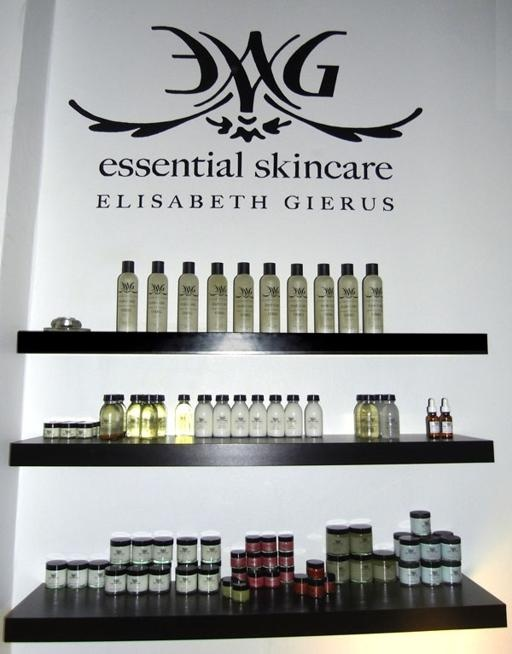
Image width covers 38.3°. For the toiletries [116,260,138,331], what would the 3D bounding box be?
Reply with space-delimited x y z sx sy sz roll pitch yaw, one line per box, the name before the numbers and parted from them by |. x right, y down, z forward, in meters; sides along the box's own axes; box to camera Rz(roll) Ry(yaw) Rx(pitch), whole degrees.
toiletries | -0.346 -0.081 1.983 0.063 0.196 0.047 6 -20 -10

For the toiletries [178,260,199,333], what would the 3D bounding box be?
toiletries | -0.187 -0.076 2.014 0.059 0.239 0.132 5 -19 -6

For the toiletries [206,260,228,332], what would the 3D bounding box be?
toiletries | -0.105 -0.076 1.982 0.056 0.192 0.050 2 -19 1

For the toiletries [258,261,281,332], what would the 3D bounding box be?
toiletries | 0.036 -0.077 1.992 0.055 0.201 0.046 2 -20 2

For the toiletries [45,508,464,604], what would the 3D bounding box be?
toiletries | 0.004 0.627 2.042 1.136 0.257 0.277 0 -19 7

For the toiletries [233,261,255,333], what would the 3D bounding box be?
toiletries | -0.036 -0.075 2.007 0.058 0.223 0.090 4 -19 -3
